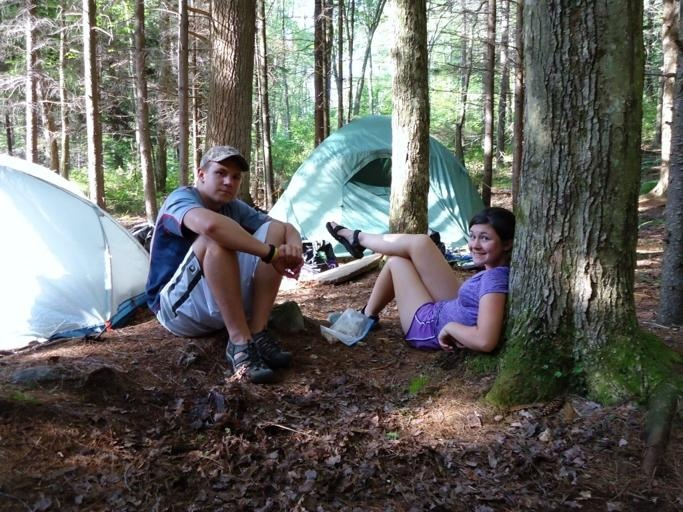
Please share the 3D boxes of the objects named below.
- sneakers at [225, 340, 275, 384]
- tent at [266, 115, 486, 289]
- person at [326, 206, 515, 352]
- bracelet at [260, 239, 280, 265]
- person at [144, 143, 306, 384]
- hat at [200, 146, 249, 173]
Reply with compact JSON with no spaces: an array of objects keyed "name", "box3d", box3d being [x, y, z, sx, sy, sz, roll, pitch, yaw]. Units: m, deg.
[{"name":"sneakers","box3d":[-0.667,0.745,4.105,0.262,0.249,0.399,-4,9,-22]},{"name":"tent","box3d":[0.361,-1.175,10.343,3.134,1.534,3.129,-3,8,-10]},{"name":"person","box3d":[0.729,0.183,4.399,0.545,1.129,1.380,-7,11,-41]},{"name":"bracelet","box3d":[-0.520,-0.028,4.138,0.092,0.149,0.137,32,-28,-23]},{"name":"person","box3d":[-0.915,-0.006,4.352,1.235,1.641,0.639,6,10,35]},{"name":"hat","box3d":[-0.903,-0.743,4.312,0.215,0.153,0.294,4,-8,-43]}]
